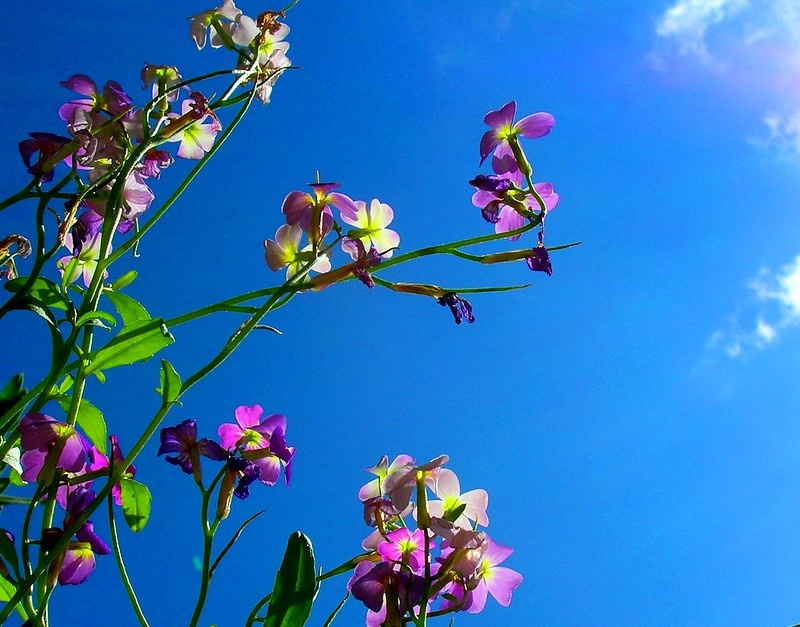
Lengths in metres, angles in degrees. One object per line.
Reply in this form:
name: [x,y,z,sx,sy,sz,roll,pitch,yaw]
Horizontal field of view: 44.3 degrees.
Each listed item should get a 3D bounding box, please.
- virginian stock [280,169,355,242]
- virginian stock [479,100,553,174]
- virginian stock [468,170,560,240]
virginian stock: [-0.147,-0.199,1.848,0.145,0.103,0.103,3,-62,-11]
virginian stock: [0.224,-0.346,1.991,0.172,0.069,0.199,-13,-18,15]
virginian stock: [0.221,-0.237,1.935,0.153,0.185,0.049,6,-63,-18]
